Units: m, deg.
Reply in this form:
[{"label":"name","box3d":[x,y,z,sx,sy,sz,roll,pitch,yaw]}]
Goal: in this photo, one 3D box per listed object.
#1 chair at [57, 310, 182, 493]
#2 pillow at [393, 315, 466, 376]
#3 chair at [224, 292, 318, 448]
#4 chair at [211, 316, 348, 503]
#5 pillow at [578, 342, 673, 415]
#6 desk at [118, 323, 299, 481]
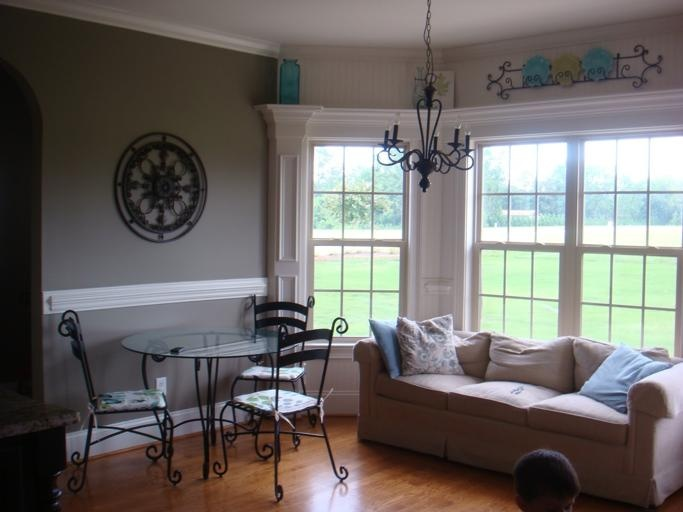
[{"label":"chair","box3d":[-1.735,1.065,4.114,0.754,1.277,0.974,-5,5,-28]},{"label":"pillow","box3d":[0.804,0.825,4.718,0.530,0.529,0.164,-2,-16,-16]},{"label":"chair","box3d":[-0.620,1.004,4.913,0.787,1.195,0.823,4,6,16]},{"label":"chair","box3d":[-0.518,1.109,4.161,0.827,1.338,0.950,3,3,37]},{"label":"pillow","box3d":[2.145,0.924,4.009,0.494,0.371,0.464,-4,4,-21]},{"label":"desk","box3d":[-1.064,1.006,4.311,1.129,0.867,1.101,-3,5,-42]}]
